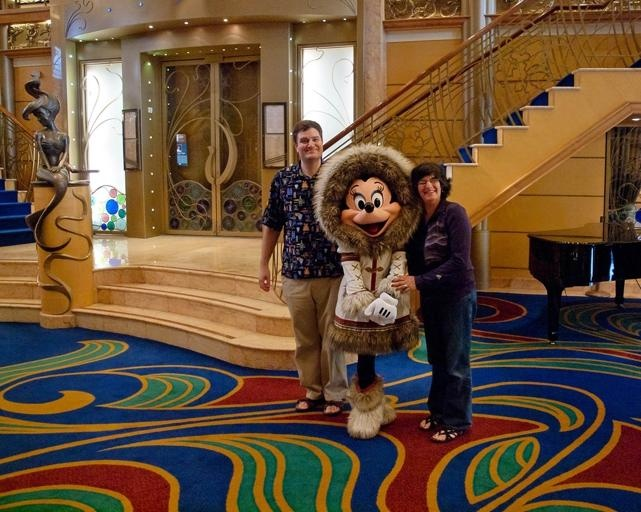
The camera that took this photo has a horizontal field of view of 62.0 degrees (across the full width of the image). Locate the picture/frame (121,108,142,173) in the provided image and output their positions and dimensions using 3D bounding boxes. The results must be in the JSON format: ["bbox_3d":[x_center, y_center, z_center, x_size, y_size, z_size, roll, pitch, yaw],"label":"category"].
[{"bbox_3d":[-3.006,-1.869,8.559,0.369,0.973,0.101,4,11,25],"label":"picture/frame"}]

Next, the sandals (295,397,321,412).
[{"bbox_3d":[-0.080,1.042,3.744,0.196,0.079,0.074,7,-6,-28],"label":"sandals"}]

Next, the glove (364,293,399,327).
[{"bbox_3d":[0.362,0.317,3.162,0.208,0.208,0.112,-1,10,-1],"label":"glove"}]

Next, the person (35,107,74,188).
[{"bbox_3d":[-2.826,-1.133,5.649,0.318,0.847,0.478,-6,11,-27],"label":"person"}]

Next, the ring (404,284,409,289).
[{"bbox_3d":[0.501,0.175,3.119,0.016,0.025,0.007,-3,-1,7],"label":"ring"}]

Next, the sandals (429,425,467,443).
[{"bbox_3d":[0.805,1.108,3.372,0.234,0.104,0.090,2,-4,-17],"label":"sandals"}]
